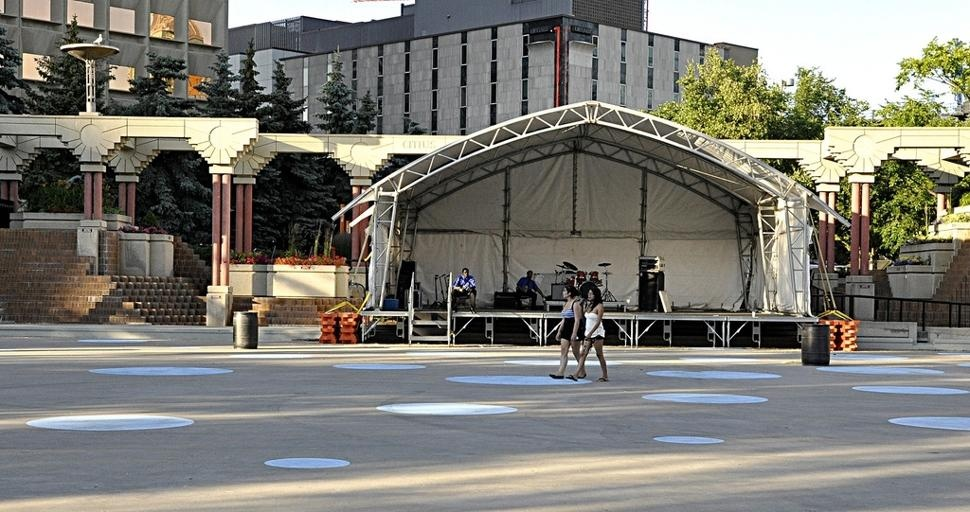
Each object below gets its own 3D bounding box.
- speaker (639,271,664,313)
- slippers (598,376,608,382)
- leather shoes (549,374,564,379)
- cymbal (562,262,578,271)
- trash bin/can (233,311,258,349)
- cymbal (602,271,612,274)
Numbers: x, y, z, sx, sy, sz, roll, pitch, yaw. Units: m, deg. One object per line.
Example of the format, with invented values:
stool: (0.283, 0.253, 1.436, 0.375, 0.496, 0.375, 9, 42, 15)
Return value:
speaker: (7.610, 1.690, 68.683, 1.013, 1.815, 0.807, 3, -2, 0)
slippers: (4.472, 4.738, 57.013, 0.328, 0.213, 0.312, 2, -2, 5)
leather shoes: (2.720, 4.683, 57.407, 0.507, 0.129, 0.166, 3, -1, 9)
cymbal: (4.175, 0.578, 73.964, 0.795, 0.479, 0.887, 2, -2, 0)
trash bin/can: (-10.092, 3.211, 63.233, 1.038, 1.528, 0.767, 3, -2, -10)
cymbal: (5.983, 0.906, 74.113, 0.358, 0.199, 0.580, 1, -2, 23)
